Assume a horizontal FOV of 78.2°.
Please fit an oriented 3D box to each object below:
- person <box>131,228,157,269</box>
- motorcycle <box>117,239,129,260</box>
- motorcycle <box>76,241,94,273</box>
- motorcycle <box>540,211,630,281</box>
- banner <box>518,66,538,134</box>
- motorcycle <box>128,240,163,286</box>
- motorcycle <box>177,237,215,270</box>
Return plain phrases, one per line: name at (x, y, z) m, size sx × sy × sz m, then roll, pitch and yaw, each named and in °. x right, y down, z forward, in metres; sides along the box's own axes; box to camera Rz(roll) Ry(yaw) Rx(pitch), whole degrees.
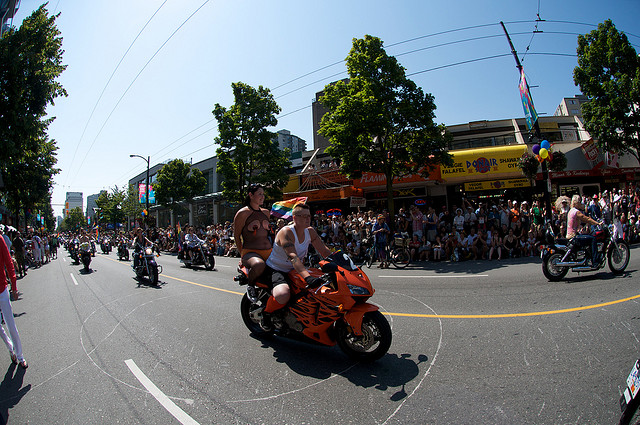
person at (-6.666, 1.265, 15.089) m, size 0.799 × 0.829 × 1.393 m, roll 3°, pitch -13°, yaw -36°
motorcycle at (-12.141, 2.397, 24.395) m, size 0.717 × 0.944 × 1.377 m, roll 1°, pitch -12°, yaw -28°
motorcycle at (-11.602, 2.133, 19.126) m, size 0.738 × 1.040 × 1.779 m, roll -7°, pitch -9°, yaw -29°
motorcycle at (7.443, 1.041, 11.113) m, size 2.479 × 1.652 × 0.842 m, roll -6°, pitch 11°, yaw -12°
banner at (8.980, -4.831, 17.025) m, size 0.691 × 2.669 × 1.938 m, roll 2°, pitch 12°, yaw 27°
motorcycle at (-6.459, 1.767, 14.837) m, size 1.055 × 1.473 × 2.562 m, roll -5°, pitch 5°, yaw -35°
motorcycle at (-5.372, 2.056, 17.964) m, size 1.005 × 1.024 × 1.953 m, roll 5°, pitch -15°, yaw -40°
